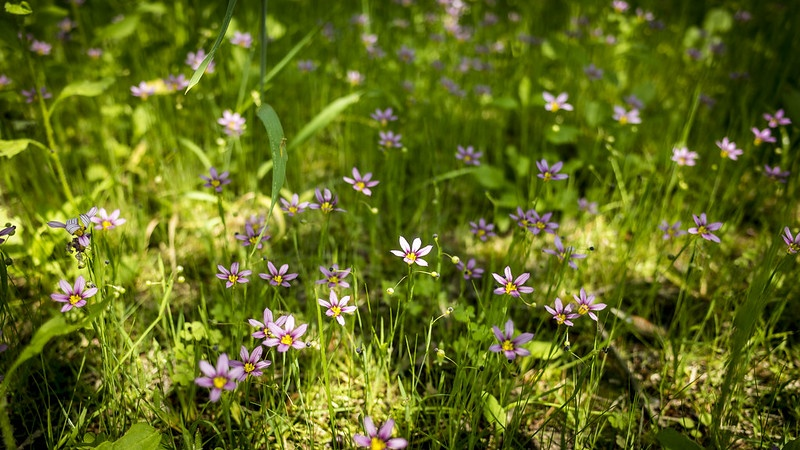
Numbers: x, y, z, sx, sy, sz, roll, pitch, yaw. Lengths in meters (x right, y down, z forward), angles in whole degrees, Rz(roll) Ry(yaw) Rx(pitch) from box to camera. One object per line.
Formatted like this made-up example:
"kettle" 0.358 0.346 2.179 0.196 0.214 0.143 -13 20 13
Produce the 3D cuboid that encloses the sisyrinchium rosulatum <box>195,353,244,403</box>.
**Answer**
"sisyrinchium rosulatum" -1.157 1.011 4.496 0.285 0.085 0.285 20 49 -24

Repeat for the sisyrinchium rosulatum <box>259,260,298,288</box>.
"sisyrinchium rosulatum" -0.819 0.358 4.835 0.191 0.079 0.223 2 43 -8

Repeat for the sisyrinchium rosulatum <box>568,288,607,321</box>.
"sisyrinchium rosulatum" 1.219 0.547 4.750 0.269 0.115 0.295 0 19 -32

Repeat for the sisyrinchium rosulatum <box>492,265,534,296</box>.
"sisyrinchium rosulatum" 0.729 0.443 4.807 0.225 0.070 0.216 -29 67 -32

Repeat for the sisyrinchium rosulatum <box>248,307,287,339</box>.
"sisyrinchium rosulatum" -0.863 0.657 4.684 0.203 0.084 0.236 2 57 15
